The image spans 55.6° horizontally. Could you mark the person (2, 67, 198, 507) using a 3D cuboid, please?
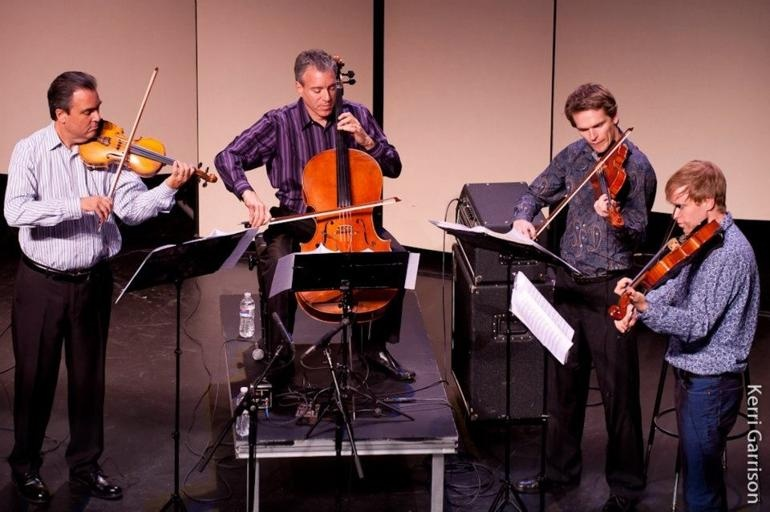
[{"bbox_3d":[-2.073,0.234,4.946,1.028,2.890,0.603,-2,4,-18],"label":"person"}]

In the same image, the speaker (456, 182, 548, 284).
[{"bbox_3d":[0.794,-0.240,5.556,0.677,0.650,0.962,-4,36,-5],"label":"speaker"}]

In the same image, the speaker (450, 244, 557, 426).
[{"bbox_3d":[0.864,0.568,5.237,0.718,1.183,1.190,0,14,-2],"label":"speaker"}]

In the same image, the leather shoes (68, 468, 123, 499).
[{"bbox_3d":[-2.032,1.573,5.088,0.372,0.157,0.181,17,17,14],"label":"leather shoes"}]

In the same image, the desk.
[{"bbox_3d":[-0.342,1.051,5.166,1.035,0.364,1.518,0,23,-8],"label":"desk"}]

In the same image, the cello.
[{"bbox_3d":[-0.277,-0.377,5.032,0.719,1.817,0.453,-3,-7,-7],"label":"cello"}]

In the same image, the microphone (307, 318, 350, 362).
[{"bbox_3d":[-0.406,0.604,5.205,0.678,0.089,0.116,-34,-29,35],"label":"microphone"}]
